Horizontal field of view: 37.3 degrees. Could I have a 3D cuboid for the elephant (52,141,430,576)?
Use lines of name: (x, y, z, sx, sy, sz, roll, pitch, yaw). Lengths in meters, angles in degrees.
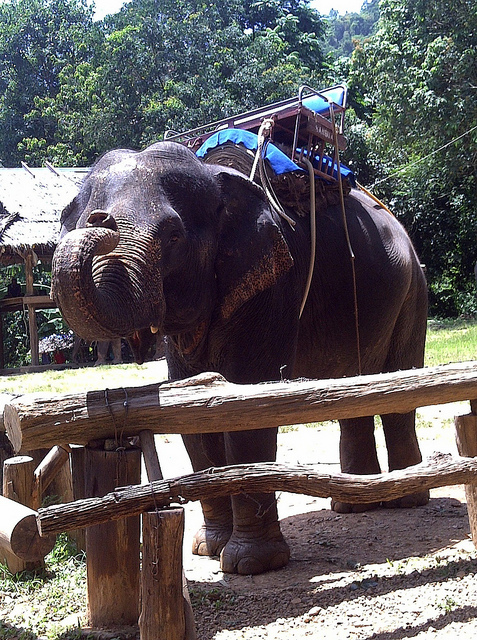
elephant: (0.082, 0.209, 3.642, 1.002, 1.952, 2.624, -4, 0, 45)
